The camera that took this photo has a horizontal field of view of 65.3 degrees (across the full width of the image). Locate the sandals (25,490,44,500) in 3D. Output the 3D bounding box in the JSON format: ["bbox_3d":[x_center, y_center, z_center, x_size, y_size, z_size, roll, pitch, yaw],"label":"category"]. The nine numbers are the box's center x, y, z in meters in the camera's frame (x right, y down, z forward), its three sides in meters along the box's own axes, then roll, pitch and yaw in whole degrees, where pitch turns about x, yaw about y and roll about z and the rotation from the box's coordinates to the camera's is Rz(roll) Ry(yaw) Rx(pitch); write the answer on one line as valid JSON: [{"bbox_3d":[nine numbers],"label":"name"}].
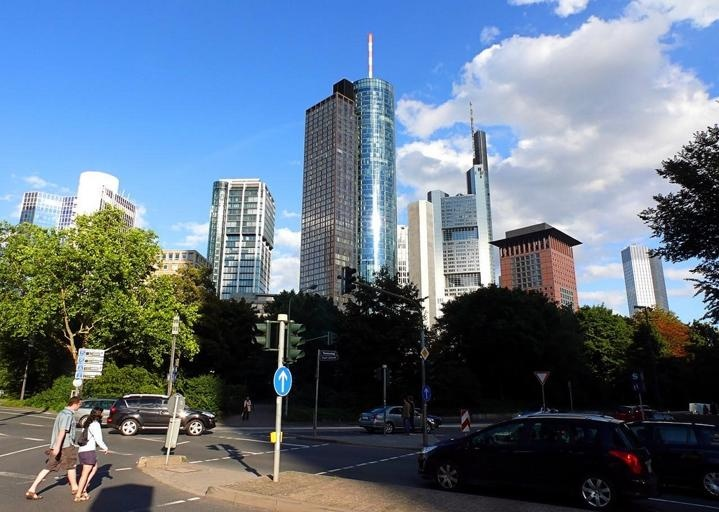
[{"bbox_3d":[-10.429,7.782,18.198,0.651,0.254,0.224,4,-7,-29],"label":"sandals"}]

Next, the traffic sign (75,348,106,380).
[{"bbox_3d":[-16.518,6.680,34.528,1.387,1.926,1.744,6,-16,-26],"label":"traffic sign"}]

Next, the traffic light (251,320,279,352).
[{"bbox_3d":[-3.461,3.053,21.212,0.861,1.142,2.227,1,-14,-8],"label":"traffic light"}]
